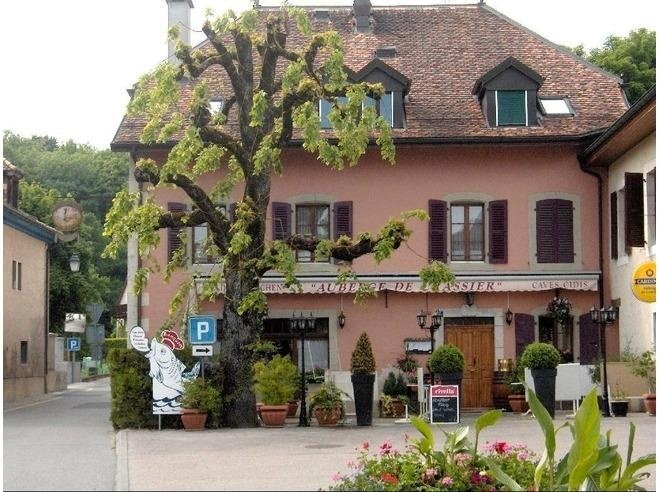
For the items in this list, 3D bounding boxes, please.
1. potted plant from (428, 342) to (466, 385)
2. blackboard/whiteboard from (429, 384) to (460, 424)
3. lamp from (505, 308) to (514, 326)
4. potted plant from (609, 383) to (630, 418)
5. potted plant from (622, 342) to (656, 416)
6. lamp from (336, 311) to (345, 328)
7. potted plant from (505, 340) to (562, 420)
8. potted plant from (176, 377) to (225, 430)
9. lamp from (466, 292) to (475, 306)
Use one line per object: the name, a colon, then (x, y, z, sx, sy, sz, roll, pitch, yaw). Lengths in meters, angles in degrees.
potted plant: (3.391, 3.284, 33.539, 0.921, 1.112, 1.020, 0, 1, -5)
blackboard/whiteboard: (3.202, 4.277, 32.108, 0.934, 1.252, 0.122, 0, -7, -1)
lamp: (5.729, 2.165, 37.152, 0.268, 0.547, 0.162, -2, -10, 9)
potted plant: (8.324, 4.404, 33.874, 0.622, 1.017, 0.675, 0, -4, 3)
potted plant: (9.082, 3.897, 34.035, 0.634, 1.924, 1.832, 0, -11, -2)
lamp: (0.454, 2.293, 37.107, 0.350, 0.505, 0.344, 1, 7, 1)
potted plant: (5.954, 3.650, 32.649, 0.951, 2.032, 0.482, -3, -10, 13)
potted plant: (-3.450, 4.238, 31.775, 1.311, 1.643, 1.178, 2, -14, -7)
lamp: (4.485, 1.635, 37.112, 0.301, 0.510, 0.354, 0, -17, 0)
